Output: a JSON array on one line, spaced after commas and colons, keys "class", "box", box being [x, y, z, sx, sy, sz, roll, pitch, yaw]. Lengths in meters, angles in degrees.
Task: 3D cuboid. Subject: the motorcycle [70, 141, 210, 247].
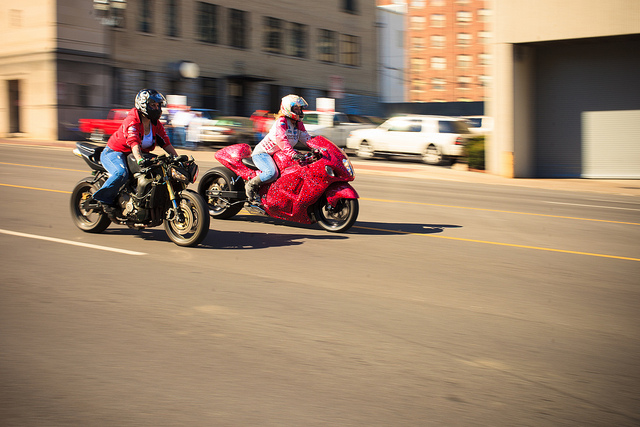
[{"class": "motorcycle", "box": [-2.733, -0.253, 9.421, 2.412, 1.376, 0.767, 11, 15, 34]}]

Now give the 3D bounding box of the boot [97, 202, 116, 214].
[{"class": "boot", "box": [-3.229, -0.090, 9.515, 0.210, 0.058, 0.120, 25, -6, 29]}]

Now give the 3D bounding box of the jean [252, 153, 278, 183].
[{"class": "jean", "box": [-0.945, -0.877, 10.867, 0.221, 0.380, 0.627, -3, -21, 29]}]

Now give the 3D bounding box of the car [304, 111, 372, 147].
[{"class": "car", "box": [1.690, -4.225, 30.575, 4.642, 1.600, 2.352, -4, 9, -16]}]

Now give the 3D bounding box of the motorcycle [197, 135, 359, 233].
[{"class": "motorcycle", "box": [-0.664, -0.549, 10.895, 2.848, 1.653, 0.615, 9, 15, 26]}]

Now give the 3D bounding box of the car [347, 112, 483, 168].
[{"class": "car", "box": [4.078, -3.189, 26.604, 5.246, 1.313, 2.256, 10, 15, 34]}]

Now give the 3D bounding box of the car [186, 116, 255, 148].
[{"class": "car", "box": [-4.709, -3.893, 29.519, 2.626, 1.077, 4.177, 2, 10, 10]}]
